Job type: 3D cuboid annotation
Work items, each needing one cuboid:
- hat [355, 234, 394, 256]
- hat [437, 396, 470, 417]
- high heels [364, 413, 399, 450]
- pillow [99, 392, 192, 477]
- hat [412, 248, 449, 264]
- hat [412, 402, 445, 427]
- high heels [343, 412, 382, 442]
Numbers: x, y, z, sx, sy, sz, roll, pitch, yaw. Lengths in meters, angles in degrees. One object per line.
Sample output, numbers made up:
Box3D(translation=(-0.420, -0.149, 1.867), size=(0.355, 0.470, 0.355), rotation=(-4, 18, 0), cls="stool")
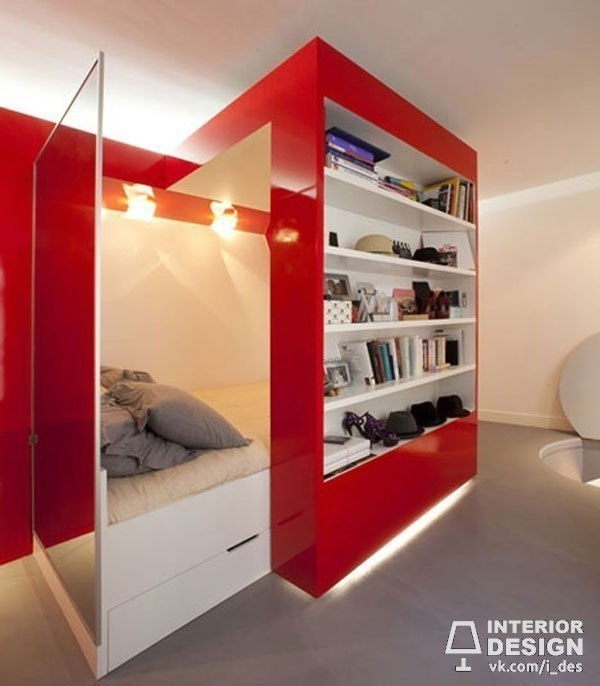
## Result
Box3D(translation=(0.388, -0.506, 2.800), size=(0.145, 0.072, 0.142), rotation=(-2, 6, -38), cls="hat")
Box3D(translation=(0.951, 0.407, 3.409), size=(0.155, 0.070, 0.149), rotation=(-3, 6, 20), cls="hat")
Box3D(translation=(0.421, 0.451, 2.772), size=(0.112, 0.096, 0.218), rotation=(-9, 10, -38), cls="high heels")
Box3D(translation=(-0.588, 0.346, 2.077), size=(0.280, 0.099, 0.303), rotation=(10, 4, 39), cls="pillow")
Box3D(translation=(0.792, -0.514, 3.331), size=(0.135, 0.053, 0.179), rotation=(-2, 5, -10), cls="hat")
Box3D(translation=(0.737, 0.427, 3.216), size=(0.141, 0.059, 0.157), rotation=(-8, 0, -14), cls="hat")
Box3D(translation=(0.322, 0.432, 2.834), size=(0.222, 0.114, 0.118), rotation=(11, 4, 27), cls="high heels")
